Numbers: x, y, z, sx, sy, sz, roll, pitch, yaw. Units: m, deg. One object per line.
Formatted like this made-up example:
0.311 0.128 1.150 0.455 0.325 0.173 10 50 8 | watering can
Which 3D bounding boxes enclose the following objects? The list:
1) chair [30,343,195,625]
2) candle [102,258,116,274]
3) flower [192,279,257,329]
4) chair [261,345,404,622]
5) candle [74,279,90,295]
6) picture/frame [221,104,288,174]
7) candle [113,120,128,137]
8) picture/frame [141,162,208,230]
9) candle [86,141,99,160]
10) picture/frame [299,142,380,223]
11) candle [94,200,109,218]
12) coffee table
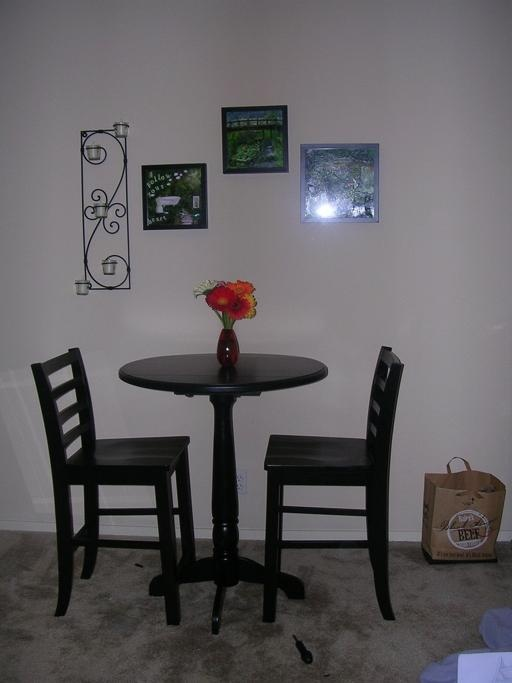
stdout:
-0.445 0.469 2.062 0.507 0.847 0.469 1 5 16 | chair
-0.619 -0.314 2.562 0.065 0.071 0.064 0 0 -2 | candle
-0.119 -0.127 2.098 0.178 0.166 0.282 -3 6 -28 | flower
0.239 0.435 2.498 0.710 1.345 0.735 1 6 0 | chair
-0.755 -0.238 2.594 0.059 0.062 0.061 -5 9 -36 | candle
0.005 -0.864 2.531 0.263 0.259 0.022 -1 8 2 | picture/frame
-0.570 -0.894 2.535 0.058 0.065 0.059 -2 10 -23 | candle
-0.338 -0.634 2.580 0.264 0.271 0.028 0 6 4 | picture/frame
-0.682 -0.803 2.522 0.058 0.061 0.061 1 10 2 | candle
0.364 -0.685 2.533 0.304 0.318 0.013 -1 11 5 | picture/frame
-0.667 -0.569 2.582 0.056 0.056 0.056 -3 6 -31 | candle
-0.096 0.413 2.165 0.766 0.899 0.787 0 7 4 | coffee table
